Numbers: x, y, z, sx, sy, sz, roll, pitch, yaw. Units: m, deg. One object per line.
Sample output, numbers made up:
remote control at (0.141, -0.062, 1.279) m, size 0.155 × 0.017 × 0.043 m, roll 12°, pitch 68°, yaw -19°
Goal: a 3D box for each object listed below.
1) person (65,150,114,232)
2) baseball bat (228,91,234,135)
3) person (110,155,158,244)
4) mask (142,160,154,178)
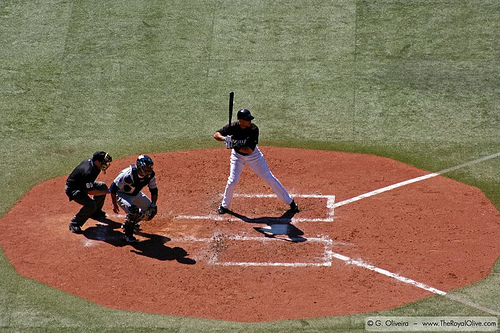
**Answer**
person at (-3.764, 0.666, 14.160) m, size 1.331 × 1.877 × 0.978 m, roll 3°, pitch 48°, yaw -33°
baseball bat at (-0.444, -1.291, 14.152) m, size 0.175 × 0.055 × 1.033 m, roll 2°, pitch 77°, yaw -1°
person at (-2.589, 0.626, 13.429) m, size 1.034 × 1.558 × 1.148 m, roll -6°, pitch 52°, yaw -5°
mask at (-2.242, 0.070, 13.317) m, size 0.246 × 0.597 × 0.156 m, roll -16°, pitch 54°, yaw -11°
